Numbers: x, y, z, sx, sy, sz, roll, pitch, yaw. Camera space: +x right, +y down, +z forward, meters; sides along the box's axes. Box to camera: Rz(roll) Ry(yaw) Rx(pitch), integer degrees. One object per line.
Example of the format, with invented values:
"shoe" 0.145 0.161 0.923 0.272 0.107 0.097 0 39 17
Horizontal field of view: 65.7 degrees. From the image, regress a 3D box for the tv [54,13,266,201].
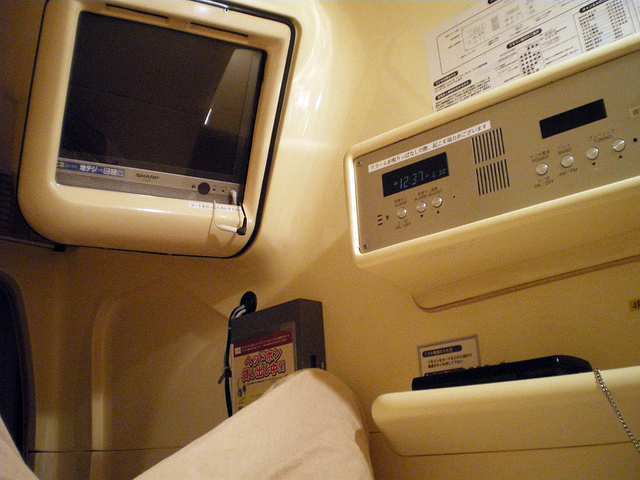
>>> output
"tv" -0.468 -0.386 1.379 0.488 0.427 0.050 9 10 -21
